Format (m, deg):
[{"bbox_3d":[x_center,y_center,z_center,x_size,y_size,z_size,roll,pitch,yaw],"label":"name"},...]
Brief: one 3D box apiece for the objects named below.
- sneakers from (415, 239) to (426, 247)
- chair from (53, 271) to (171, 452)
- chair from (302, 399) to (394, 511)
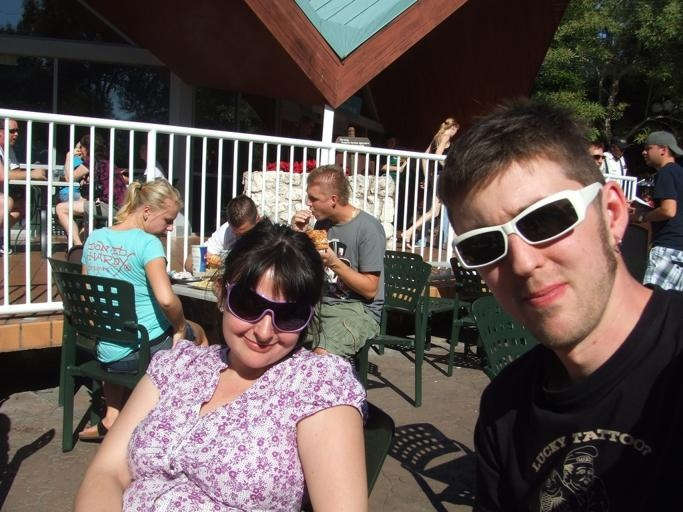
[{"bbox_3d":[1.194,-0.193,7.934,0.123,0.182,0.412,-1,-1,6],"label":"sneakers"},{"bbox_3d":[-1.647,0.760,4.020,0.713,1.468,0.961,7,8,14],"label":"chair"},{"bbox_3d":[0.042,0.803,2.464,0.336,0.611,0.384,7,7,40],"label":"chair"}]
